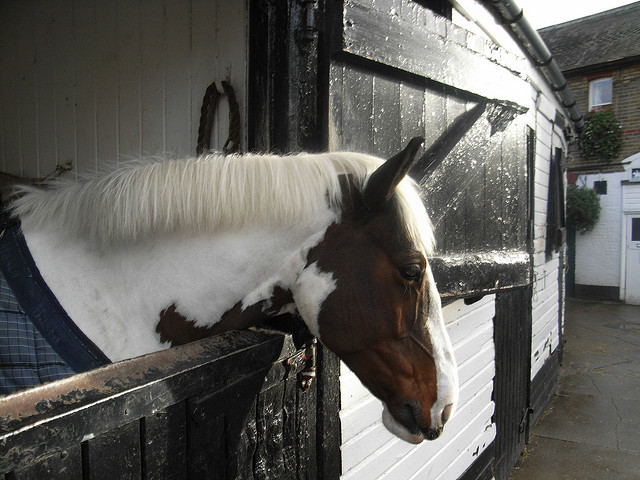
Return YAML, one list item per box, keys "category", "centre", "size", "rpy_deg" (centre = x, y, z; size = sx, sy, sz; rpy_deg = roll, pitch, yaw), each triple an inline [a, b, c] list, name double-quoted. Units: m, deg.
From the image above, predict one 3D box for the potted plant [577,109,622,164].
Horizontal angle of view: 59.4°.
- category: "potted plant"
  centre: [5.846, -2.169, 11.685]
  size: [0.524, 1.191, 0.843]
  rpy_deg: [-9, 26, -39]

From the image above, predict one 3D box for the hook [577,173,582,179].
- category: "hook"
  centre: [5.644, -1.398, 12.231]
  size: [0.081, 0.100, 0.064]
  rpy_deg: [0, 2, 33]

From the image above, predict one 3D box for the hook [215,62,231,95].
- category: "hook"
  centre: [-0.518, -0.882, 3.021]
  size: [0.099, 0.169, 0.053]
  rpy_deg: [-14, 6, -10]

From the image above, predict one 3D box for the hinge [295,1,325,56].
- category: "hinge"
  centre: [-0.052, -1.054, 2.784]
  size: [0.148, 0.263, 0.056]
  rpy_deg: [2, 8, 26]
